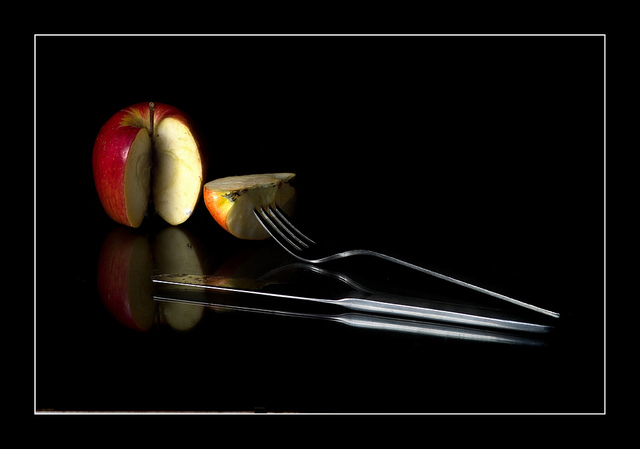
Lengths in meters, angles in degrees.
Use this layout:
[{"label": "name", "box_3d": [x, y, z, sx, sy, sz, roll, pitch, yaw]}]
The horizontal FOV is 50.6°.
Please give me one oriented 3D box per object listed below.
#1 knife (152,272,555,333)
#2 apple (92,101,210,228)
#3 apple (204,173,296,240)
[{"label": "knife", "box_3d": [0.088, 0.183, 1.562, 0.866, 0.146, 0.063, -1, -18, 7]}, {"label": "apple", "box_3d": [-0.529, -0.174, 2.116, 0.307, 0.378, 0.377, 0, 26, -8]}, {"label": "apple", "box_3d": [-0.207, -0.054, 2.055, 0.283, 0.205, 0.307, -11, 16, -8]}]
